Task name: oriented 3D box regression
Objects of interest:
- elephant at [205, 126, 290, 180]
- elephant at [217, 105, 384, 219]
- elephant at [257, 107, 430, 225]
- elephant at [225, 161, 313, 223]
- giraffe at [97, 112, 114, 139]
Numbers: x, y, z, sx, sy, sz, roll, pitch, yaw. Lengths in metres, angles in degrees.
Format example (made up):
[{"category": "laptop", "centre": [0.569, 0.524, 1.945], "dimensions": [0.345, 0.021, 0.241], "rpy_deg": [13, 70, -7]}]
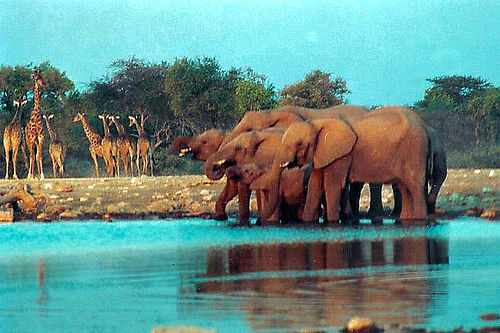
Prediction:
[{"category": "elephant", "centre": [-0.073, -0.372, 28.880], "dimensions": [2.095, 1.114, 1.153], "rpy_deg": [-3, 7, 3]}, {"category": "elephant", "centre": [2.359, 0.201, 30.232], "dimensions": [5.125, 2.954, 2.448], "rpy_deg": [0, 3, -31]}, {"category": "elephant", "centre": [2.639, 0.121, 28.759], "dimensions": [5.055, 3.203, 1.699], "rpy_deg": [-3, 2, -7]}, {"category": "elephant", "centre": [0.712, 0.759, 28.998], "dimensions": [3.016, 1.669, 1.473], "rpy_deg": [11, 7, 5]}, {"category": "giraffe", "centre": [-8.037, -2.301, 57.453], "dimensions": [0.550, 1.788, 0.746], "rpy_deg": [3, -31, -27]}]
